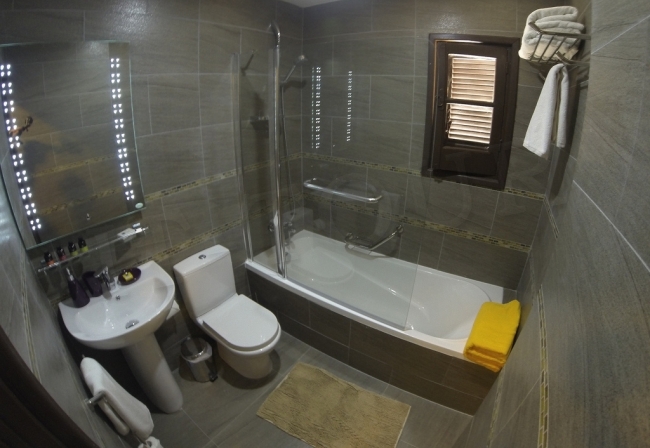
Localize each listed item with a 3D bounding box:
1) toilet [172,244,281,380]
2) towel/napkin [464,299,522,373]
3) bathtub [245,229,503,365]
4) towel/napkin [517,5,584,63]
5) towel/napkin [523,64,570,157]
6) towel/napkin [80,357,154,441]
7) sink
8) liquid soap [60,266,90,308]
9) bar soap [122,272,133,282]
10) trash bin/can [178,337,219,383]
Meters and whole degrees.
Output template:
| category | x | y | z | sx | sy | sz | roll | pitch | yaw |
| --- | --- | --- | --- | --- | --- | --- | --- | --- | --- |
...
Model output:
| category | x | y | z | sx | sy | sz | roll | pitch | yaw |
| --- | --- | --- | --- | --- | --- | --- | --- | --- | --- |
| toilet | -0.688 | 0.715 | 3.197 | 0.791 | 0.891 | 0.460 | 22 | 39 | 32 |
| towel/napkin | 1.142 | 0.711 | 2.788 | 0.330 | 0.141 | 0.456 | 3 | 32 | 40 |
| bathtub | 0.256 | 0.447 | 3.294 | 1.967 | 0.401 | 0.901 | 18 | 37 | 30 |
| towel/napkin | 1.313 | -1.076 | 2.418 | 0.369 | 0.403 | 0.153 | 8 | 60 | 31 |
| towel/napkin | 1.331 | -0.650 | 2.424 | 0.195 | 0.505 | 0.297 | 0 | 29 | -1 |
| towel/napkin | -1.115 | 0.962 | 2.267 | 0.228 | 0.516 | 0.286 | -19 | 34 | -32 |
| sink | -1.298 | 0.548 | 2.644 | 0.477 | 0.300 | 0.508 | 28 | 41 | 24 |
| liquid soap | -1.529 | 0.384 | 2.567 | 0.092 | 0.246 | 0.119 | -19 | 34 | -32 |
| bar soap | -1.308 | 0.353 | 2.772 | 0.060 | 0.047 | 0.048 | -33 | 19 | -18 |
| trash bin/can | -0.985 | 1.051 | 3.193 | 0.247 | 0.274 | 0.174 | 35 | 50 | 29 |
